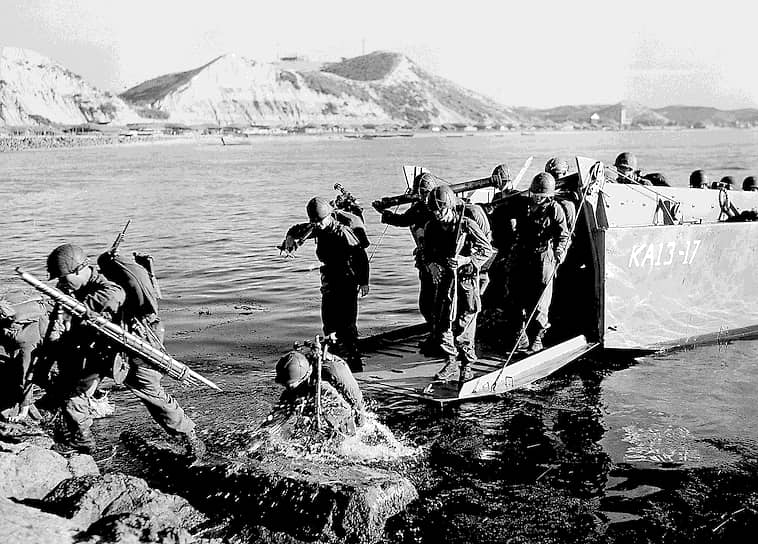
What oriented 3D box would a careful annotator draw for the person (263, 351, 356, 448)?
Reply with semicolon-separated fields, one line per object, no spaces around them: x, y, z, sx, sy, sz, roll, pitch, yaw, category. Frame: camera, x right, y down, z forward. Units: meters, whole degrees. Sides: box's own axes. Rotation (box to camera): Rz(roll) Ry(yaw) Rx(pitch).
-0.895;1.640;11.595;1.363;1.342;0.666;-5;15;-8;person

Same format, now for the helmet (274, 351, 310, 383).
-1.099;1.210;11.227;0.338;0.240;0.440;31;55;24;helmet

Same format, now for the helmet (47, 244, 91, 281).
-4.051;-0.101;11.246;0.493;0.357;0.435;-25;26;-16;helmet

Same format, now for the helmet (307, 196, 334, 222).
-0.960;-0.984;13.677;0.356;0.305;0.414;25;0;-22;helmet
